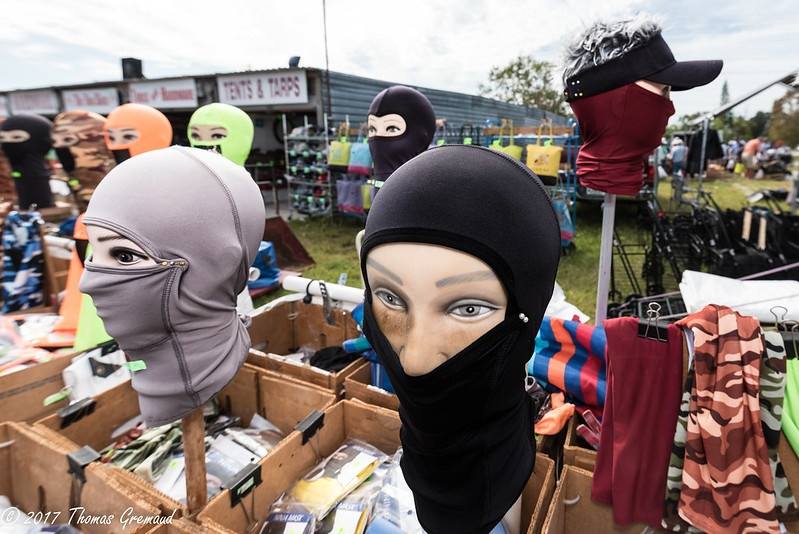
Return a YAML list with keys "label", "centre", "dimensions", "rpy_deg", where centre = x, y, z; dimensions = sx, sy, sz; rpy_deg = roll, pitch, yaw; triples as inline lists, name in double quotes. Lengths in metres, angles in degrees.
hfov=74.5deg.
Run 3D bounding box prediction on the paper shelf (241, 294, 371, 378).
- label: "paper shelf"
  centre: [-0.769, 0.616, 4.601]
  dimensions: [0.752, 0.458, 0.772]
  rpy_deg: [0, 13, 4]
